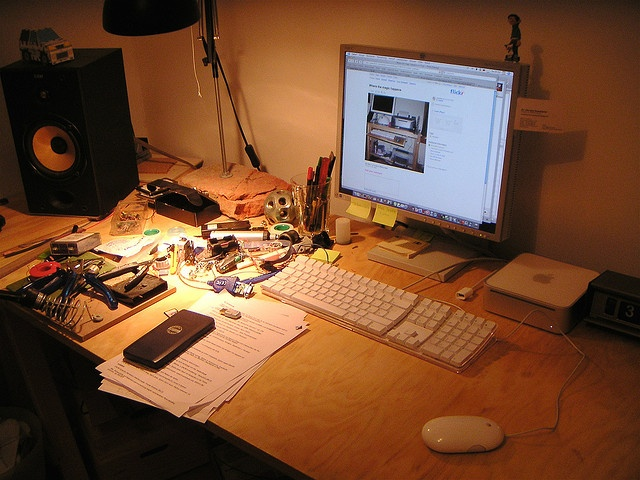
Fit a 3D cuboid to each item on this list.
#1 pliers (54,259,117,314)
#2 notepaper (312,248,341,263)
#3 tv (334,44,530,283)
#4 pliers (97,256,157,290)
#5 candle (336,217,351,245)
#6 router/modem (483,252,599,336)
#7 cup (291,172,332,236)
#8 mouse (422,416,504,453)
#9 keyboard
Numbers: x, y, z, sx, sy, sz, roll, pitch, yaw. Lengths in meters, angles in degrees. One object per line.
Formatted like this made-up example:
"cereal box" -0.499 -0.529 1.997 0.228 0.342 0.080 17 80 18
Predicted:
"pliers" -0.616 0.119 1.351 0.160 0.049 0.110 31 47 29
"notepaper" 0.020 0.044 1.517 0.051 0.012 0.048 7 30 11
"tv" 0.306 -0.267 1.353 0.612 0.592 0.110 18 34 33
"pliers" -0.535 0.095 1.404 0.124 0.024 0.097 15 28 32
"candle" 0.071 -0.025 1.580 0.053 0.060 0.053 -22 33 -36
"router/modem" 0.542 0.106 1.260 0.194 0.077 0.201 19 39 32
"cup" -0.017 -0.122 1.686 0.169 0.221 0.161 -1 21 1
"mouse" 0.279 0.376 0.981 0.160 0.040 0.058 0 26 -2
"keyboard" 0.170 0.177 1.267 0.572 0.056 0.191 19 41 33
